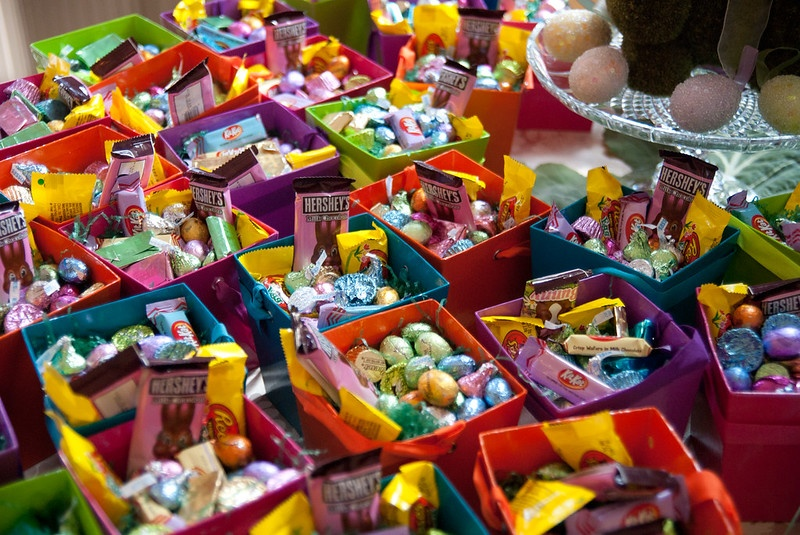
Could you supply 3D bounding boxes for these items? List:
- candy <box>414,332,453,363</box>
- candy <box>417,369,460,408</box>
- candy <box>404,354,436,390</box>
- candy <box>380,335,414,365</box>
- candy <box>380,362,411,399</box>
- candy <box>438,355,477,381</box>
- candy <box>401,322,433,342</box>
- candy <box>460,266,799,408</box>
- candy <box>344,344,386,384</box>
[{"bbox_3d":[0.093,0.226,1.723,0.091,0.069,0.054,17,64,4],"label":"candy"},{"bbox_3d":[0.100,0.319,1.619,0.104,0.080,0.080,32,39,4],"label":"candy"},{"bbox_3d":[0.040,0.296,1.677,0.070,0.092,0.073,30,24,-21],"label":"candy"},{"bbox_3d":[-0.014,0.246,1.719,0.089,0.067,0.071,21,58,-43],"label":"candy"},{"bbox_3d":[-0.014,0.316,1.663,0.079,0.080,0.028,38,4,11],"label":"candy"},{"bbox_3d":[0.158,0.277,1.635,0.091,0.051,0.057,2,66,0],"label":"candy"},{"bbox_3d":[0.042,0.181,1.735,0.069,0.040,0.053,-8,19,4],"label":"candy"},{"bbox_3d":[0.545,0.232,1.674,0.516,0.214,0.405,-14,51,-11],"label":"candy"},{"bbox_3d":[-0.093,0.267,1.697,0.098,0.072,0.099,41,40,8],"label":"candy"}]
